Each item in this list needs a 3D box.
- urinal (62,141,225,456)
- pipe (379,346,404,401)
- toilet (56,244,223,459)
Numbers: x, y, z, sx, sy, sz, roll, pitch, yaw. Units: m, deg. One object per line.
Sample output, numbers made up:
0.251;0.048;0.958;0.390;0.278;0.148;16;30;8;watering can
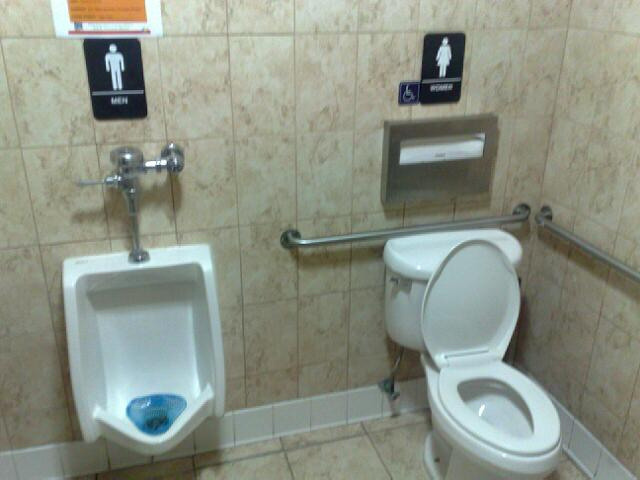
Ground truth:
-0.688;0.370;2.174;0.589;1.311;0.681;-4;30;-19;urinal
0.357;0.652;2.664;0.120;0.321;0.089;-8;25;-20;pipe
-0.701;0.389;2.186;0.525;0.806;0.518;-7;31;-16;toilet
